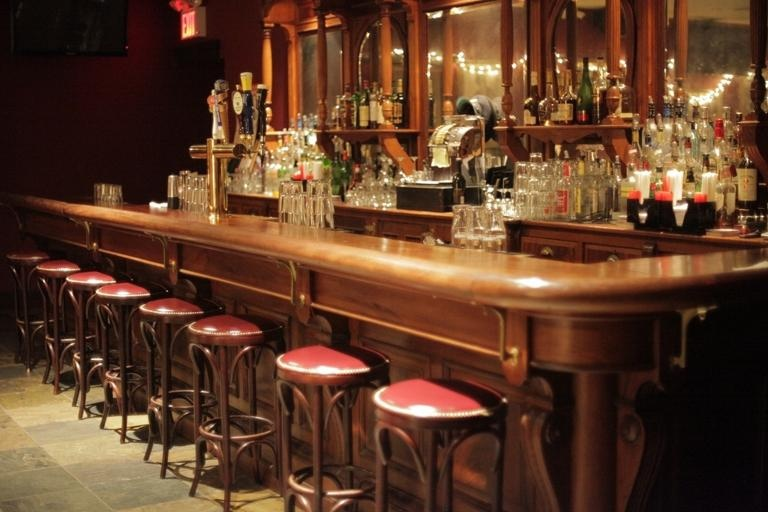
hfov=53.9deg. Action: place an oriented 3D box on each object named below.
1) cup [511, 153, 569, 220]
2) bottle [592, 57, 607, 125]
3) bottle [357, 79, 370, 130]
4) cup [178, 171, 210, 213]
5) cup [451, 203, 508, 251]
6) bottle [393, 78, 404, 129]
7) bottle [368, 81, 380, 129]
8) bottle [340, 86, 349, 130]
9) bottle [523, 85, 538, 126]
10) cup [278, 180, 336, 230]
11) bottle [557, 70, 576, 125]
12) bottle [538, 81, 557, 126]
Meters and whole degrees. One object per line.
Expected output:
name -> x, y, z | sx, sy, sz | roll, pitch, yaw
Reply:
cup -> 1.100, -0.491, 5.515 | 0.376, 0.435, 0.401 | 0, 3, 0
bottle -> 1.598, -1.239, 5.624 | 0.107, 0.492, 0.262 | 2, 8, 14
bottle -> -0.201, -1.412, 7.269 | 0.090, 0.372, 0.170 | -3, 8, -20
cup -> -1.450, -0.480, 5.725 | 0.277, 0.412, 0.279 | 2, 6, 0
cup -> 0.533, -0.152, 4.209 | 0.287, 0.308, 0.193 | 3, 5, 14
bottle -> 0.136, -1.447, 7.158 | 0.110, 0.447, 0.048 | 0, 7, 5
bottle -> -0.088, -1.444, 7.240 | 0.099, 0.417, 0.173 | 0, 7, 0
bottle -> -0.378, -1.437, 7.442 | 0.097, 0.365, 0.216 | -2, 8, -15
bottle -> 1.149, -1.174, 5.905 | 0.109, 0.300, 0.245 | 1, 8, 12
cup -> -0.526, -0.358, 4.883 | 0.305, 0.411, 0.314 | 1, 7, 0
bottle -> 1.371, -1.195, 5.692 | 0.123, 0.404, 0.335 | 1, 8, 13
bottle -> 1.254, -1.169, 5.818 | 0.136, 0.323, 0.392 | 1, 8, 11
